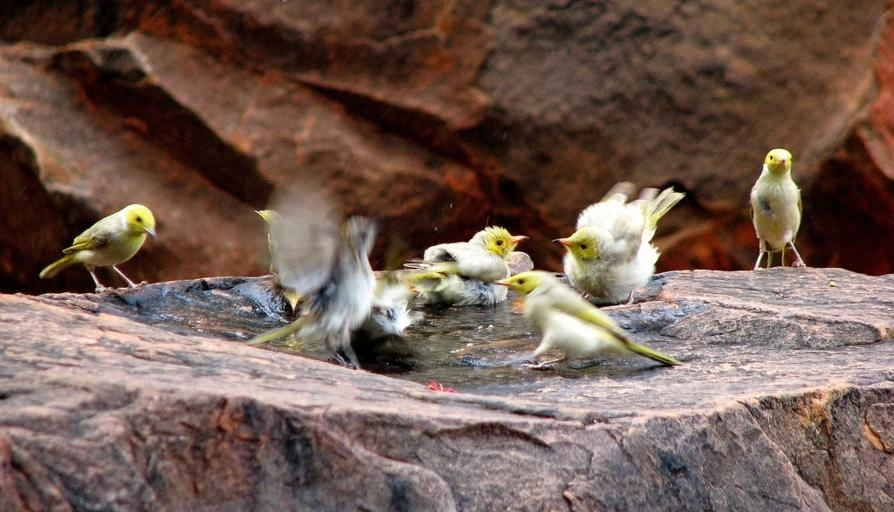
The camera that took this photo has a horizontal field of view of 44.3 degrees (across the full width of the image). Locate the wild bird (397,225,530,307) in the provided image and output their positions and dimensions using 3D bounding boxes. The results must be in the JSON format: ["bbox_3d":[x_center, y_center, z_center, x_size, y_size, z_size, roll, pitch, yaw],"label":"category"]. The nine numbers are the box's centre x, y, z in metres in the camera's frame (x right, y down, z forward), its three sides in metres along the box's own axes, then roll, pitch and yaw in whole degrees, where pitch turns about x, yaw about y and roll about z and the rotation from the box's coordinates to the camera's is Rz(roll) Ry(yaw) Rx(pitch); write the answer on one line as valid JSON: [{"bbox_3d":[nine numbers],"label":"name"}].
[{"bbox_3d":[0.179,0.093,11.447,1.203,0.789,0.578,14,4,-19],"label":"wild bird"}]
